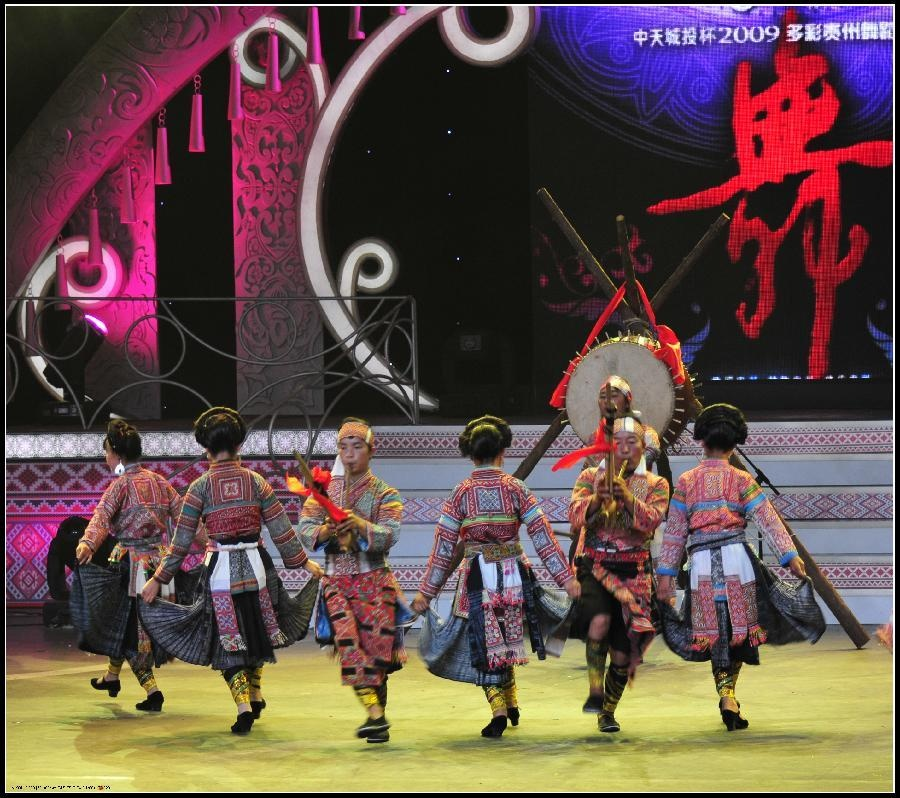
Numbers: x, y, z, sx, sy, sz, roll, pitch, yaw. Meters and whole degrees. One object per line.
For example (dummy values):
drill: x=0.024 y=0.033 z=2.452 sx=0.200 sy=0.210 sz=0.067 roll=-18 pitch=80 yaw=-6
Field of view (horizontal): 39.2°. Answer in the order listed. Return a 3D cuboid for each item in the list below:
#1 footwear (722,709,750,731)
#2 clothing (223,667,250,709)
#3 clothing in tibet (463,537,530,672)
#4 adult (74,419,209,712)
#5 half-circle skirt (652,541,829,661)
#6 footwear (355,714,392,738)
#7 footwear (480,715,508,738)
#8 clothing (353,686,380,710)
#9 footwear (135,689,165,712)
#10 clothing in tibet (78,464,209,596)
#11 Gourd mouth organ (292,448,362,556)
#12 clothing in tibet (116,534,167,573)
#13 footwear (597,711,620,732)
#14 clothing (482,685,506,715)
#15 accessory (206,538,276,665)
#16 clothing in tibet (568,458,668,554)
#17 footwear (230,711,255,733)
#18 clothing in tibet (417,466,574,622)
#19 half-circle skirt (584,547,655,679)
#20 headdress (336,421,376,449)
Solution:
footwear: x=1.256 y=1.372 z=5.599 sx=0.059 sy=0.068 sz=0.164 roll=0 pitch=-2 yaw=18
clothing: x=-0.988 y=1.283 z=5.834 sx=0.118 sy=0.198 sz=0.229 roll=-1 pitch=-1 yaw=-9
clothing in tibet: x=0.197 y=0.901 z=5.616 sx=0.273 sy=0.512 sz=0.122 roll=-1 pitch=-1 yaw=0
adult: x=-1.618 y=0.812 z=6.379 sx=0.806 sy=1.365 sz=0.599 roll=2 pitch=-5 yaw=-37
half-circle skirt: x=1.327 y=0.903 z=5.827 sx=0.745 sy=0.512 sz=0.313 roll=-3 pitch=-16 yaw=7
footwear: x=-0.346 y=1.390 z=5.579 sx=0.141 sy=0.109 sz=0.147 roll=-1 pitch=-1 yaw=-4
footwear: x=0.191 y=1.402 z=5.619 sx=0.071 sy=0.075 sz=0.126 roll=1 pitch=3 yaw=-6
clothing: x=-0.371 y=1.262 z=5.559 sx=0.101 sy=0.100 sz=0.101 roll=1 pitch=6 yaw=4
footwear: x=-1.462 y=1.411 z=6.150 sx=0.062 sy=0.088 sz=0.181 roll=5 pitch=-3 yaw=-42
clothing in tibet: x=-1.557 y=0.646 z=6.352 sx=0.728 sy=0.779 sz=0.238 roll=0 pitch=9 yaw=-18
Gourd mouth organ: x=-0.576 y=0.420 z=5.606 sx=0.232 sy=0.496 sz=0.175 roll=-42 pitch=-12 yaw=1
clothing in tibet: x=-1.550 y=0.728 z=6.293 sx=0.247 sy=0.155 sz=0.197 roll=0 pitch=-12 yaw=4
footwear: x=0.705 y=1.381 z=5.613 sx=0.094 sy=0.087 sz=0.095 roll=-1 pitch=-1 yaw=5
clothing: x=0.199 y=1.289 z=5.627 sx=0.085 sy=0.126 sz=0.076 roll=-1 pitch=-1 yaw=-10
accessory: x=-0.948 y=0.865 z=5.762 sx=0.318 sy=0.495 sz=0.106 roll=-1 pitch=-1 yaw=-9
clothing in tibet: x=0.746 y=0.510 z=5.736 sx=0.505 sy=0.553 sz=0.404 roll=0 pitch=-17 yaw=5
footwear: x=-0.939 y=1.413 z=5.696 sx=0.057 sy=0.134 sz=0.060 roll=11 pitch=20 yaw=-22
clothing in tibet: x=0.216 y=0.688 z=6.080 sx=1.094 sy=0.753 sz=0.286 roll=-1 pitch=-6 yaw=1
half-circle skirt: x=0.734 y=0.906 z=5.618 sx=0.329 sy=0.555 sz=0.164 roll=-1 pitch=-1 yaw=4
headdress: x=-0.423 y=0.140 z=5.711 sx=0.135 sy=0.092 sz=0.129 roll=4 pitch=-3 yaw=-11
